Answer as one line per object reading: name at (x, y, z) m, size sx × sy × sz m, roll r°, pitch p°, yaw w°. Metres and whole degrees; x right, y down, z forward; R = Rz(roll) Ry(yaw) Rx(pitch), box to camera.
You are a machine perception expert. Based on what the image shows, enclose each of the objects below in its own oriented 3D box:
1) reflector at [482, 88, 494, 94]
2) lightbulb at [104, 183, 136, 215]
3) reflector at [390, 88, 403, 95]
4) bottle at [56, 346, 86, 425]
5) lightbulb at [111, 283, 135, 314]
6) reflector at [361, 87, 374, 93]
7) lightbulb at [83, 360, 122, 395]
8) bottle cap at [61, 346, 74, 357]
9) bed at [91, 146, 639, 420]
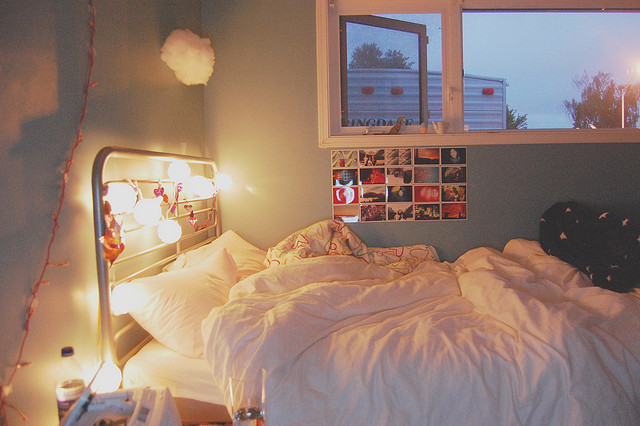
reflector at (1.341, -0.976, 4.270) m, size 0.091 × 0.045 × 0.012 m, roll -1°, pitch 5°, yaw 2°
lightbulb at (-1.081, -0.077, 2.910) m, size 0.081 × 0.173 × 0.178 m, roll 1°, pitch 6°, yaw 22°
reflector at (0.607, -0.969, 4.250) m, size 0.098 × 0.050 × 0.013 m, roll 0°, pitch 5°, yaw 7°
bottle at (-1.196, 0.834, 2.576) m, size 0.120 × 0.261 × 0.106 m, roll -4°, pitch 6°, yaw -28°
lightbulb at (-1.089, 0.474, 2.971) m, size 0.127 × 0.156 × 0.052 m, roll -4°, pitch 6°, yaw -31°
reflector at (0.379, -0.979, 4.252) m, size 0.099 × 0.041 × 0.006 m, roll -1°, pitch 5°, yaw 3°
lightbulb at (-1.147, 0.868, 2.849) m, size 0.183 × 0.168 × 0.279 m, roll -3°, pitch 6°, yaw -22°
bottle cap at (-1.196, 0.659, 2.544) m, size 0.050 × 0.050 × 0.061 m, roll -4°, pitch 6°, yaw -29°
bed at (0.268, 0.584, 3.178) m, size 2.363 × 0.985 × 1.849 m, roll -1°, pitch 24°, yaw 1°
